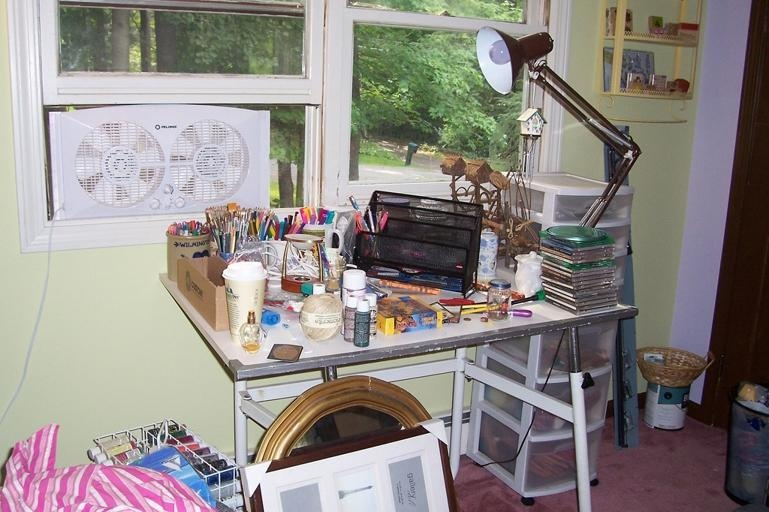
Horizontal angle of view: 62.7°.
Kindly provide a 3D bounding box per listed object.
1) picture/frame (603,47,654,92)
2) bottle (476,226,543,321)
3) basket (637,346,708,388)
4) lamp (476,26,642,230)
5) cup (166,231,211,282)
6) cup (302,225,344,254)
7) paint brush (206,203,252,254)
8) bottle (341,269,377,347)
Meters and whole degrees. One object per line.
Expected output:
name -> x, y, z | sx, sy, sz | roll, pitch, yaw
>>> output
picture/frame -> 1.265, -0.958, 3.281 | 0.378, 0.228, 0.029 | -5, 7, -28
bottle -> 0.478, 0.053, 2.502 | 0.298, 0.295, 0.311 | 6, 10, 35
basket -> 1.640, 0.609, 3.555 | 0.367, 0.175, 0.364 | 8, 13, 41
lamp -> 0.699, -0.579, 2.856 | 0.695, 0.856, 0.603 | -6, 16, -12
cup -> -0.774, 0.000, 2.548 | 0.176, 0.187, 0.177 | 2, 6, 0
cup -> -0.247, -0.070, 2.581 | 0.151, 0.144, 0.096 | 6, 4, -2
paint brush -> -0.594, -0.123, 2.554 | 0.195, 0.260, 0.180 | -1, 12, -10
bottle -> -0.088, 0.166, 2.216 | 0.127, 0.223, 0.168 | -4, 16, -5
